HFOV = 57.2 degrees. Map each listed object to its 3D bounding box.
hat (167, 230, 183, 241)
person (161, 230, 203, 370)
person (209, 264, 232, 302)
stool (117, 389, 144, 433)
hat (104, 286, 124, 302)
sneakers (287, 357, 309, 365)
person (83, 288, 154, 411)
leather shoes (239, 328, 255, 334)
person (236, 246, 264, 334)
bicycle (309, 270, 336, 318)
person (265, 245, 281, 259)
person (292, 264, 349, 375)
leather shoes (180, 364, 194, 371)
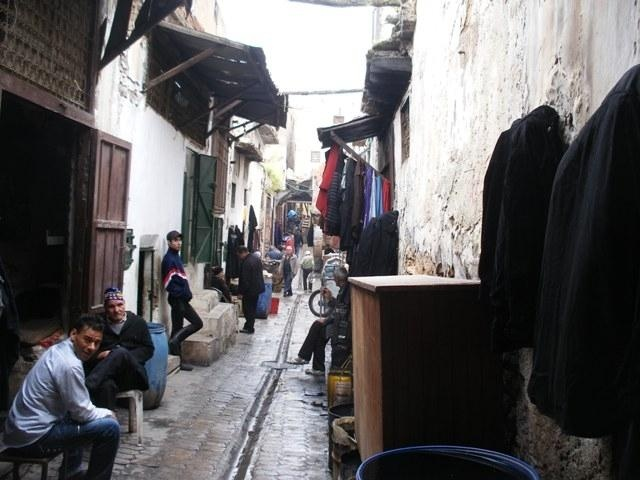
[{"bbox_3d":[-2.205,-0.061,8.911,0.149,0.122,0.269,6,2,28],"label":"hat"},{"bbox_3d":[-2.126,0.892,8.954,0.750,2.006,0.593,5,3,37],"label":"person"},{"bbox_3d":[-2.138,0.974,12.668,0.467,0.732,0.966,4,2,-10],"label":"person"},{"bbox_3d":[-1.981,1.781,6.075,0.250,0.510,0.629,3,2,-19],"label":"stool"},{"bbox_3d":[-2.228,0.578,6.306,0.132,0.183,0.208,3,-5,-24],"label":"hat"},{"bbox_3d":[-0.362,1.997,9.583,0.350,0.126,0.161,6,-6,0],"label":"sneakers"},{"bbox_3d":[-2.109,1.227,5.977,0.531,1.558,1.007,-6,-16,-3],"label":"person"},{"bbox_3d":[-1.531,1.870,12.263,0.305,0.129,0.114,6,4,24],"label":"leather shoes"},{"bbox_3d":[-1.534,1.081,12.480,0.433,1.834,0.583,1,3,10],"label":"person"},{"bbox_3d":[0.063,1.237,13.021,0.593,1.194,0.342,3,32,4],"label":"bicycle"},{"bbox_3d":[-1.673,0.484,21.638,0.419,0.326,0.841,8,1,-7],"label":"person"},{"bbox_3d":[0.026,1.290,8.518,0.763,1.185,2.797,4,2,-2],"label":"person"},{"bbox_3d":[-1.977,1.890,8.687,0.201,0.104,0.075,-1,3,25],"label":"leather shoes"}]
